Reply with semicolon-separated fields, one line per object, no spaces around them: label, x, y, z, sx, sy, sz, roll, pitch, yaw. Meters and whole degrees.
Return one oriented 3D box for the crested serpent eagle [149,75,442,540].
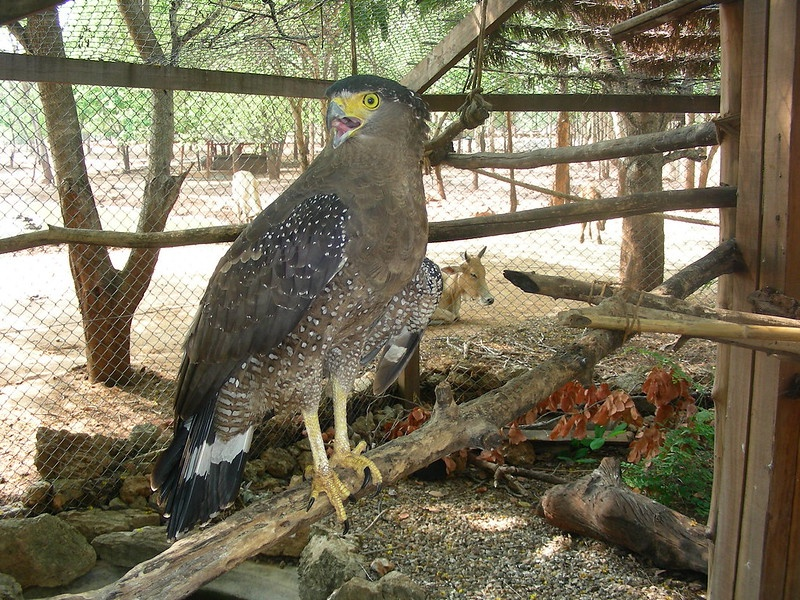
crested serpent eagle;-0.666;0.030;4.594;1.648;2.301;0.964;-7;-6;14

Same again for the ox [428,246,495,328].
ox;0.789;-0.138;9.980;0.810;1.022;0.804;2;14;-2
